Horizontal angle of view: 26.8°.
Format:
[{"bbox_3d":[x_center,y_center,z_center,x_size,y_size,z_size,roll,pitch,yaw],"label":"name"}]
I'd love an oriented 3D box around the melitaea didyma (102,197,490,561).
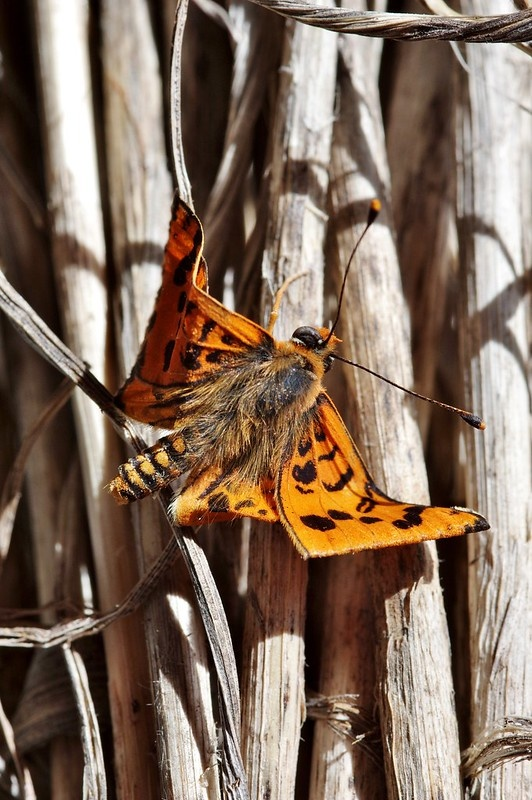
[{"bbox_3d":[0.030,-0.032,1.268,0.419,0.389,0.174,1,4,12],"label":"melitaea didyma"}]
